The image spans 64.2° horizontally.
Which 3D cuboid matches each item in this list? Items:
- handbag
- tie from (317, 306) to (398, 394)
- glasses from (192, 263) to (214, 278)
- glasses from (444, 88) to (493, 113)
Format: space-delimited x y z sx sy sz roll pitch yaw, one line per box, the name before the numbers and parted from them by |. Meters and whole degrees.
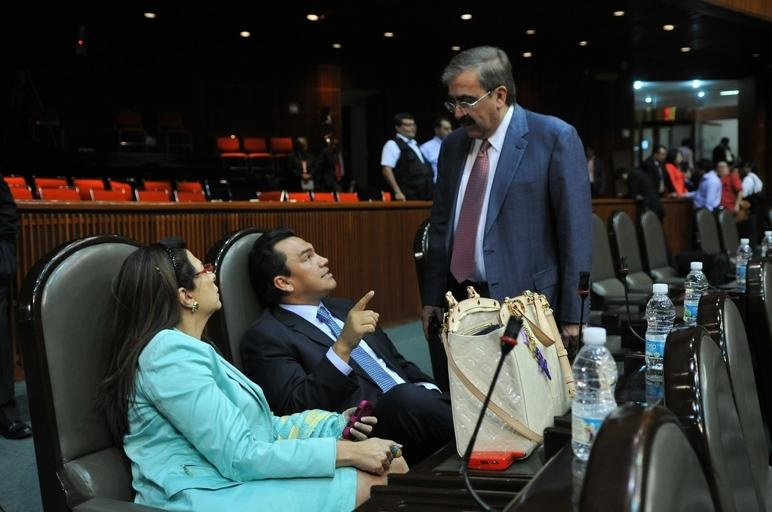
handbag | 0.436 0.351 2.171 0.379 0.508 0.748 -9 1 28
tie | -0.136 0.403 2.607 0.074 0.091 0.548 -35 51 -19
glasses | -0.636 0.046 2.139 0.052 0.016 0.053 -21 7 -3
glasses | 0.325 -0.653 2.601 0.115 0.036 0.111 -33 18 -36
